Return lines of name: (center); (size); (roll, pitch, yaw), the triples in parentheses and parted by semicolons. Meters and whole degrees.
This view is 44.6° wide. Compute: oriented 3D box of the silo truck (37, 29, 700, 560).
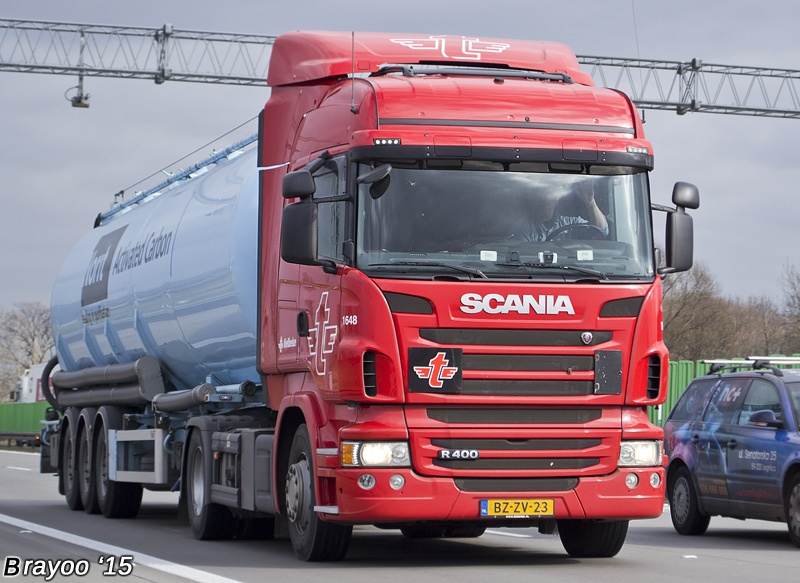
silo truck: (-1.633, 0.243, 15.038); (4.453, 5.794, 12.732); (1, -3, -25)

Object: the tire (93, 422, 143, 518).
tire: (-4.753, 3.010, 16.433); (0.600, 2.089, 1.662); (1, -1, -8)

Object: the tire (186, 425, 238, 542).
tire: (-2.392, 2.458, 12.463); (0.517, 1.847, 1.522); (2, 0, -22)

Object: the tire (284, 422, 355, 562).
tire: (-0.801, 2.000, 9.725); (0.519, 1.386, 1.523); (1, -2, -14)

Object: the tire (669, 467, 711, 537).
tire: (4.120, 2.985, 13.801); (0.304, 1.022, 0.971); (0, -3, -21)
